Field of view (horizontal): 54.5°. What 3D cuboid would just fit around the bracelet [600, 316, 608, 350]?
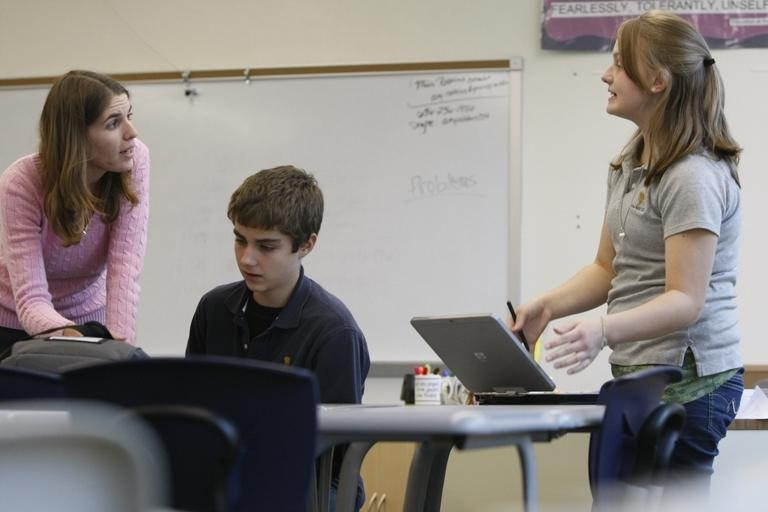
[{"bbox_3d":[0.572,0.202,1.954,0.014,0.068,0.062,-3,-19,10],"label":"bracelet"}]

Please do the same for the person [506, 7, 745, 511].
[{"bbox_3d":[0.686,-0.047,2.040,0.535,1.003,0.554,-2,0,27],"label":"person"}]

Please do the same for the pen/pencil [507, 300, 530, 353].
[{"bbox_3d":[0.391,0.208,2.158,0.016,0.162,0.018,-20,12,16],"label":"pen/pencil"}]

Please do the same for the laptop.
[{"bbox_3d":[0.269,0.271,2.050,0.289,0.205,0.305,-14,2,-42],"label":"laptop"}]

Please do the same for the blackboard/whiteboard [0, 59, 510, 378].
[{"bbox_3d":[-0.389,-0.147,3.020,1.376,0.989,0.062,0,1,5],"label":"blackboard/whiteboard"}]
